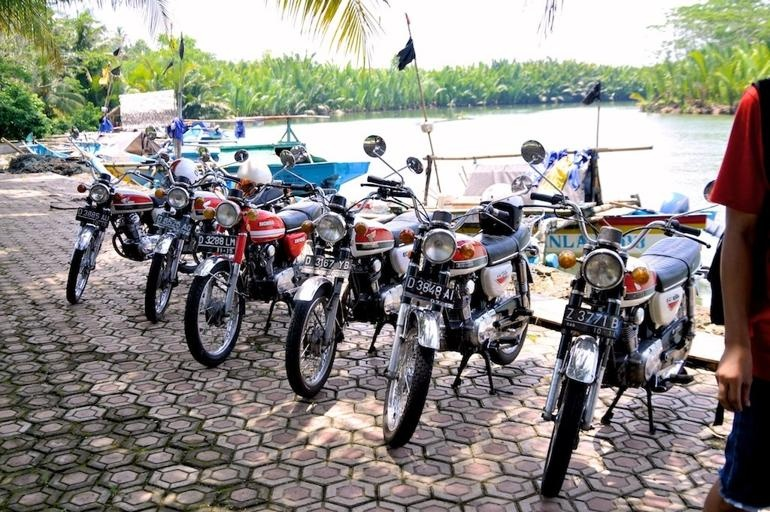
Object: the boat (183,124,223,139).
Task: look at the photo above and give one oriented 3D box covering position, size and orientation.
[{"bbox_3d":[-7.782,-5.297,24.613,1.562,0.421,1.125,6,14,31],"label":"boat"}]
